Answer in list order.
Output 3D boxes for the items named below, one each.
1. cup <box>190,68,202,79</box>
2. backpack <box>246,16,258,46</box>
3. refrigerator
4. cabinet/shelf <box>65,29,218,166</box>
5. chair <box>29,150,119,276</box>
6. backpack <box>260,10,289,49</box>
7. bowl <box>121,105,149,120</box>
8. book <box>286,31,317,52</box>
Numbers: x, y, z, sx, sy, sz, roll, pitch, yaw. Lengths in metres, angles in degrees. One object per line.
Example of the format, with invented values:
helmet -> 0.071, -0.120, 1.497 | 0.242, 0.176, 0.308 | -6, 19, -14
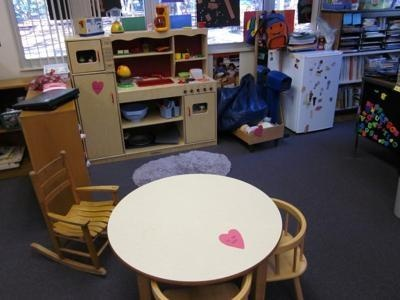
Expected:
cup -> -0.052, -1.033, 4.170 | 0.151, 0.128, 0.131 | -3, 28, -10
backpack -> 0.760, -1.754, 4.466 | 0.117, 0.363, 0.276 | -9, 31, -11
refrigerator -> 1.588, -0.875, 4.407 | 0.812, 1.327, 0.675 | -8, 21, -18
cabinet/shelf -> -0.758, -0.666, 3.868 | 1.390, 1.263, 0.518 | -10, 25, -16
chair -> -1.124, 0.579, 2.670 | 0.614, 0.801, 0.525 | 13, 33, 6
backpack -> 0.993, -1.647, 4.323 | 0.336, 0.494, 0.507 | -7, 45, 0
bowl -> -0.860, -0.494, 4.059 | 0.334, 0.195, 0.319 | -3, 27, 2
book -> 1.462, -1.552, 4.392 | 0.397, 0.248, 0.164 | -8, 26, -9
